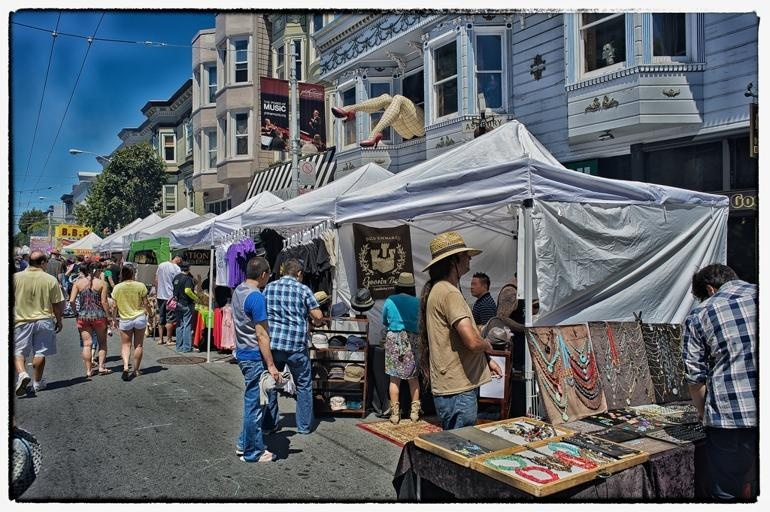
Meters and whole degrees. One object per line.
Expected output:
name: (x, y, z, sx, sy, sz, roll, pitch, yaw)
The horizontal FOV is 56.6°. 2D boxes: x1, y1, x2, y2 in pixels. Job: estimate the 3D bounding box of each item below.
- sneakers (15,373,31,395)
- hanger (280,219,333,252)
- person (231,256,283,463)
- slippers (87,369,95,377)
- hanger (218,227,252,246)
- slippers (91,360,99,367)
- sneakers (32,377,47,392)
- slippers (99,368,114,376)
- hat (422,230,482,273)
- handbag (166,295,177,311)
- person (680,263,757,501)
sneakers: (-6.538, 2.304, 12.982, 0.198, 0.523, 0.222, 10, 26, -41)
hanger: (-1.550, -0.436, 14.034, 0.427, 0.703, 1.508, -9, 14, -33)
person: (-1.965, 1.556, 10.771, 0.692, 2.983, 0.718, -4, 12, -13)
slippers: (-5.968, 2.389, 14.549, 0.073, 0.096, 0.247, 6, 15, 11)
hanger: (-3.279, -0.432, 15.656, 0.959, 0.428, 0.359, 10, 16, 41)
slippers: (-6.358, 2.356, 15.726, 0.136, 0.180, 0.445, -1, -9, -8)
sneakers: (-6.579, 2.434, 13.617, 0.119, 0.153, 0.357, 1, 3, -4)
slippers: (-5.774, 2.394, 14.787, 0.214, 0.155, 0.098, -7, 12, -25)
hat: (0.840, 0.076, 9.824, 0.625, 0.317, 0.626, -17, -9, -32)
handbag: (-5.365, 1.190, 18.031, 0.302, 0.404, 0.094, 10, 9, -2)
person: (4.347, 1.595, 9.131, 0.978, 2.811, 0.800, 8, 14, 36)
